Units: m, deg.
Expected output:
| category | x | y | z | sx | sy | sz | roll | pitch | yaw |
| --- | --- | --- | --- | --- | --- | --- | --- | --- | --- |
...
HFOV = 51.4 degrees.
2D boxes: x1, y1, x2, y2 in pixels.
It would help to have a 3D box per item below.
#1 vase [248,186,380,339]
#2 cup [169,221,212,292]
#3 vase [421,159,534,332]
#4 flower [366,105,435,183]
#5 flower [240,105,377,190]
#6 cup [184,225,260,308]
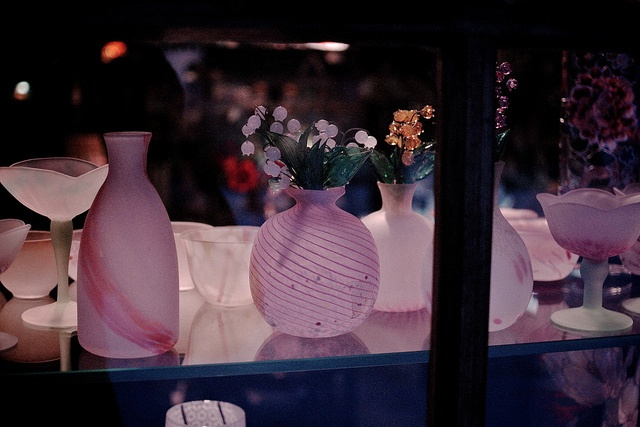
| category | x | y | z | sx | sy | sz | roll | pitch | yaw |
| --- | --- | --- | --- | --- | --- | --- | --- | --- | --- |
| vase | -0.009 | 0.077 | 1.274 | 0.258 | 0.265 | 0.253 | -6 | 12 | -29 |
| cup | -0.274 | 0.077 | 1.330 | 0.119 | 0.123 | 0.119 | 1 | 8 | 0 |
| vase | 0.281 | 0.069 | 1.172 | 0.200 | 0.317 | 0.217 | -1 | 9 | 8 |
| flower | 0.163 | -0.133 | 1.339 | 0.130 | 0.188 | 0.177 | -1 | -20 | 15 |
| flower | -0.030 | -0.099 | 1.244 | 0.204 | 0.116 | 0.210 | 2 | -3 | 12 |
| cup | -0.188 | 0.096 | 1.310 | 0.144 | 0.112 | 0.149 | 1 | 3 | 0 |
